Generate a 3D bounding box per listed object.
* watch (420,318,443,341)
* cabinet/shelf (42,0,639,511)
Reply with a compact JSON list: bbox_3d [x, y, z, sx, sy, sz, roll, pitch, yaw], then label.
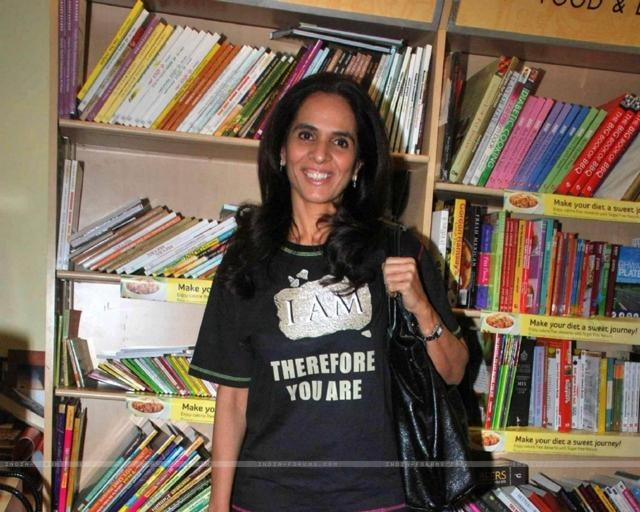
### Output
[{"bbox_3d":[0.375,0.247,1.759,0.071,0.026,0.054,-18,30,36],"label":"watch"},{"bbox_3d":[0.120,-0.019,2.123,2.244,1.993,0.588,4,9,-5],"label":"cabinet/shelf"}]
